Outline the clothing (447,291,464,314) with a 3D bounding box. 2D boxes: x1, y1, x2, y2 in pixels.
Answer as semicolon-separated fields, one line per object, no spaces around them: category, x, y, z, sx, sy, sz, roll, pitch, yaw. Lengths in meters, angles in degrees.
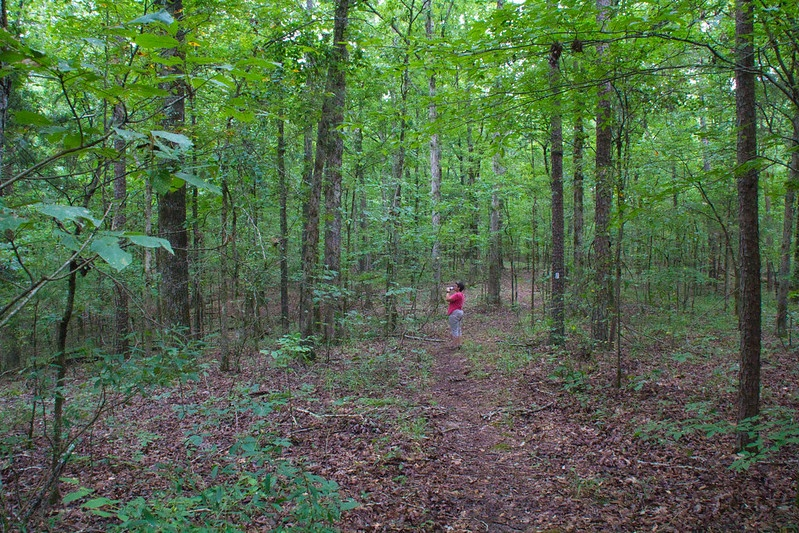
clothing;1.557;1.030;20.180;0.401;0.538;0.474;-1;0;9
